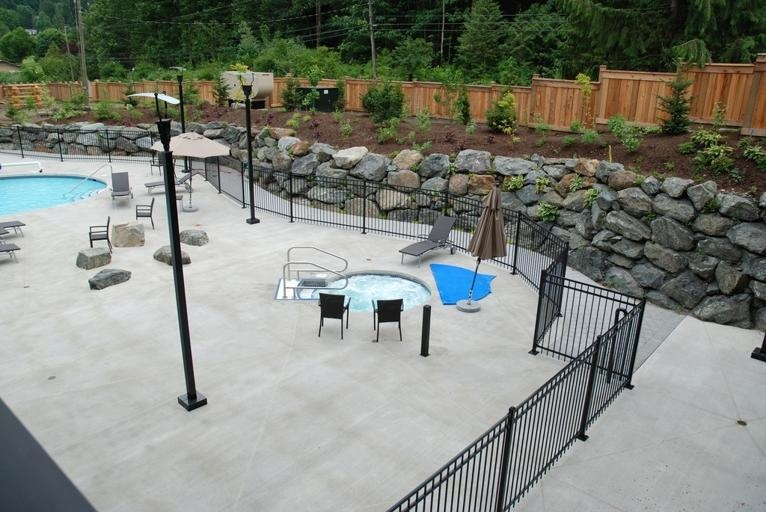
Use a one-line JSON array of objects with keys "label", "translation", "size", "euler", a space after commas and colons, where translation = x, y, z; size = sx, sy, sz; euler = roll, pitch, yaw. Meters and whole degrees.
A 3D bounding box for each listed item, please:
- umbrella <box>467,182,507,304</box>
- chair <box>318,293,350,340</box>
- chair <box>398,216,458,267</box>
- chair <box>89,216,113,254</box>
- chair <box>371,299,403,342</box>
[{"label": "umbrella", "translation": [3.008, -0.324, 14.999], "size": [1.023, 3.388, 1.709], "euler": [4, 18, 9]}, {"label": "chair", "translation": [-1.293, 1.624, 13.762], "size": [0.837, 1.349, 0.941], "euler": [4, 26, 6]}, {"label": "chair", "translation": [1.449, -0.561, 18.212], "size": [2.486, 1.323, 1.102], "euler": [-22, 34, -38]}, {"label": "chair", "translation": [-9.929, -0.710, 18.298], "size": [1.001, 1.298, 0.947], "euler": [-4, 33, -30]}, {"label": "chair", "translation": [0.149, 1.566, 13.733], "size": [0.788, 1.079, 0.854], "euler": [1, 18, 0]}]
